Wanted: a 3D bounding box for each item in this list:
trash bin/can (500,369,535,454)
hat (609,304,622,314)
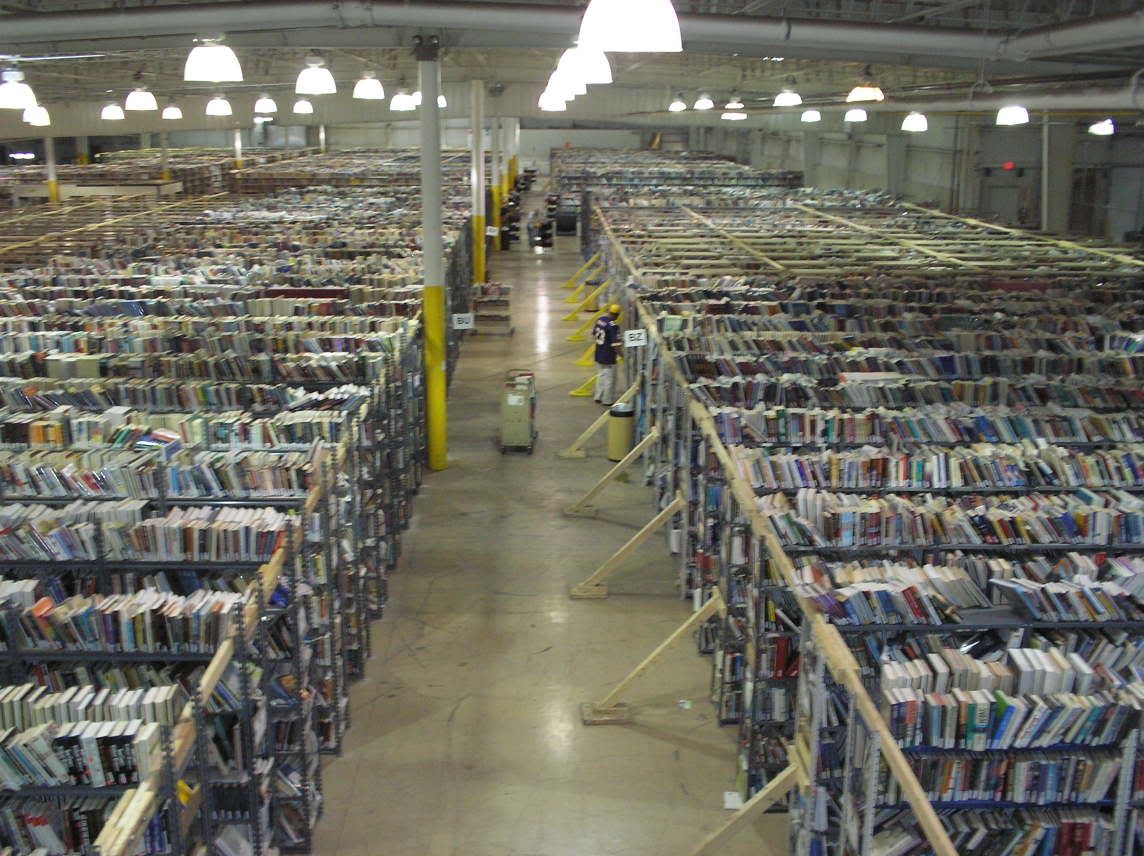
[{"bbox_3d":[-0.948,-0.254,16.351,0.911,1.207,1.577,2,15,2],"label":"trash bin/can"},{"bbox_3d":[0.782,-2.193,17.383,0.233,0.107,0.249,14,11,2],"label":"hat"}]
